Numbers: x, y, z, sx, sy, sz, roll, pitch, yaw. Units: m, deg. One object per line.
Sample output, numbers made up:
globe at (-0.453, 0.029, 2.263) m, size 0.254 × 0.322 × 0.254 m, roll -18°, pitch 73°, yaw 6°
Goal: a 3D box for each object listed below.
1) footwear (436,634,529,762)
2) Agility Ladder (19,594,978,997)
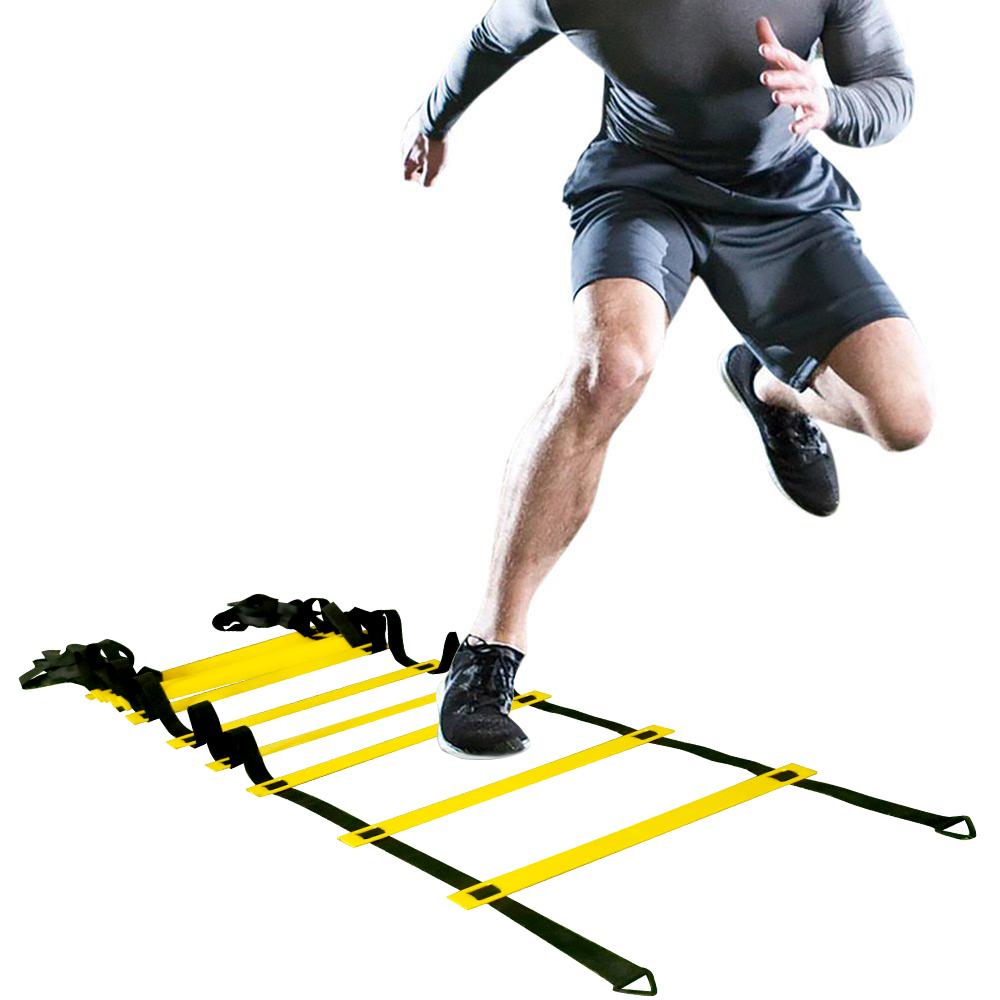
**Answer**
footwear at (-0.025, 0.448, 2.703) m, size 0.217 × 0.280 × 0.116 m, roll 10°, pitch -19°, yaw 1°
Agility Ladder at (-0.324, 0.549, 2.614) m, size 1.007 × 0.128 × 2.007 m, roll -10°, pitch 16°, yaw -39°
